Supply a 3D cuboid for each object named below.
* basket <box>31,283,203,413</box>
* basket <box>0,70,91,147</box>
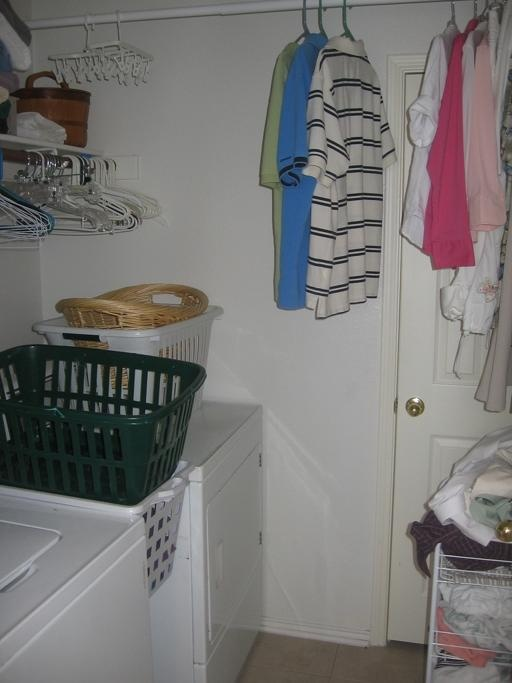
[{"bbox_3d":[-0.347,0.016,1.604,0.320,0.258,0.476,3,-2,17],"label":"basket"},{"bbox_3d":[-0.606,-0.730,1.832,0.187,0.231,0.217,-16,22,-35],"label":"basket"}]
